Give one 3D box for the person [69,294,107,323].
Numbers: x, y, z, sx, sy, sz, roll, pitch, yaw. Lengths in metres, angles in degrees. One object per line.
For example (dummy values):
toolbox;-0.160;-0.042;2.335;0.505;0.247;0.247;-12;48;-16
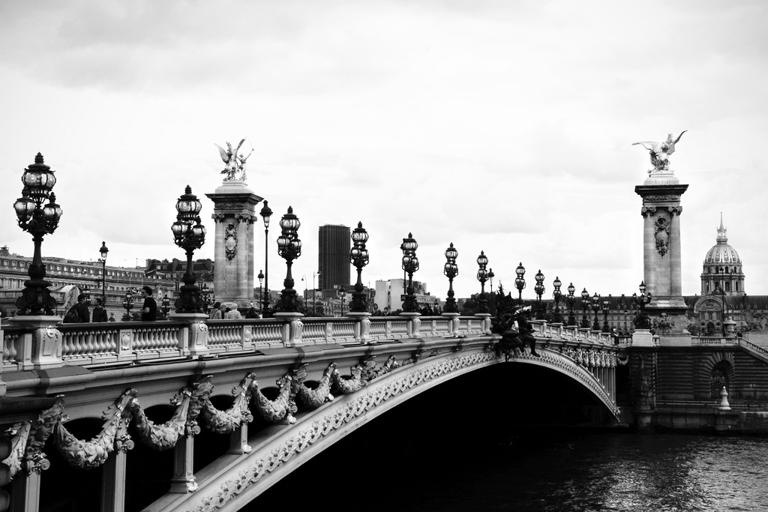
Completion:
person;-10.280;1.828;47.077;1.369;1.059;0.721;2;5;4
